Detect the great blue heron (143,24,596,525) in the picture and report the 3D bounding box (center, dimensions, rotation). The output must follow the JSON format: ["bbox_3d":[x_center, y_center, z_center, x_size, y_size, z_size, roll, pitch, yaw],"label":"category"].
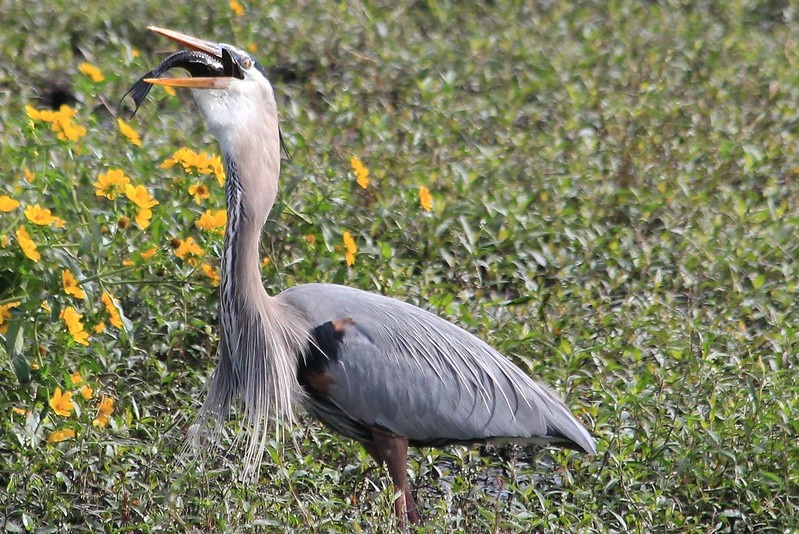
[{"bbox_3d":[0.138,-0.053,8.036,3.658,4.186,1.645,-2,4,-9],"label":"great blue heron"}]

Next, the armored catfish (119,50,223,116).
[{"bbox_3d":[-1.212,-1.033,5.979,0.608,0.481,0.340,1,-4,2],"label":"armored catfish"}]
